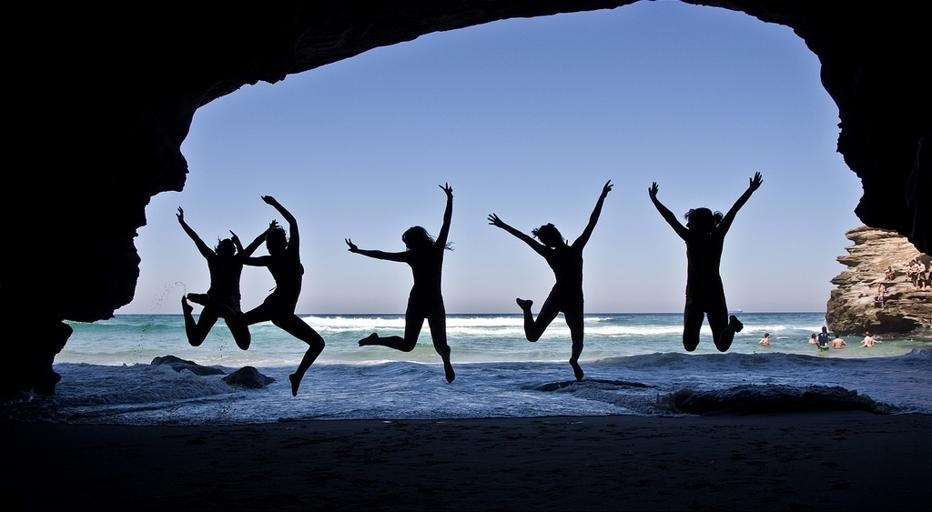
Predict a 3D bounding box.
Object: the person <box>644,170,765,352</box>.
[{"bbox_3d":[4.442,0.162,13.996,1.746,3.386,0.757,0,7,13],"label":"person"}]
